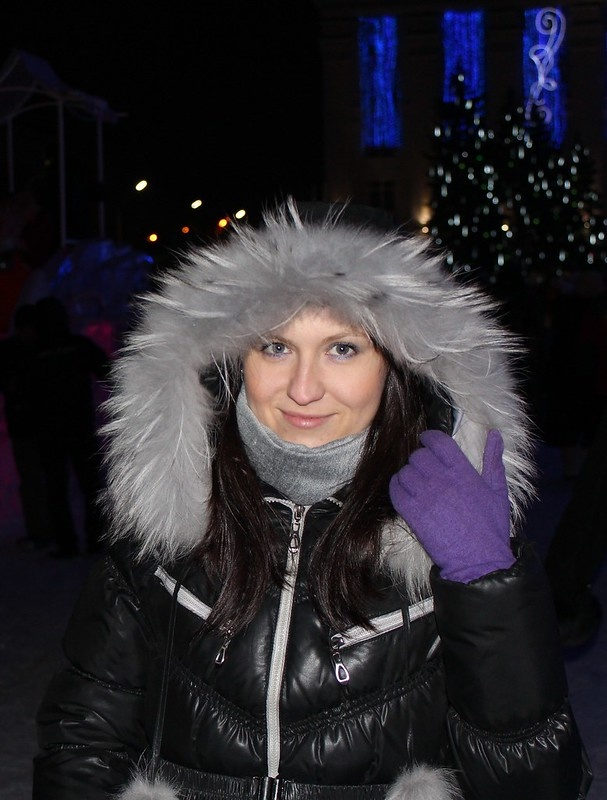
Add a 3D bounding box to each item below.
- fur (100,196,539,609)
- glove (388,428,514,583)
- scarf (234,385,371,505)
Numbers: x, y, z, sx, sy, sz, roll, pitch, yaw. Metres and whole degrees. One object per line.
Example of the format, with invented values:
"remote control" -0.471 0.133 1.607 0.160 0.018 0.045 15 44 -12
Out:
"fur" -0.012 0.024 1.695 0.871 0.747 0.339 4 7 9
"glove" 0.267 0.190 1.478 0.215 0.248 0.067 -24 -9 -3
"scarf" -0.011 0.106 1.618 0.218 0.116 0.234 3 34 -9
